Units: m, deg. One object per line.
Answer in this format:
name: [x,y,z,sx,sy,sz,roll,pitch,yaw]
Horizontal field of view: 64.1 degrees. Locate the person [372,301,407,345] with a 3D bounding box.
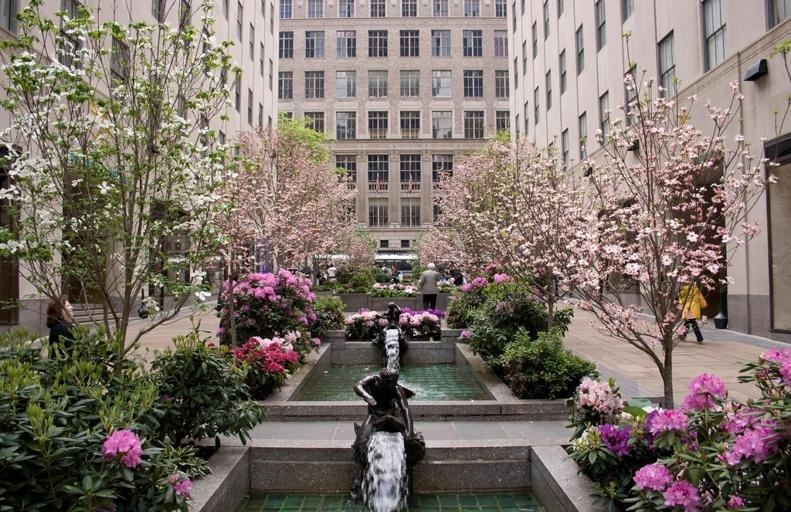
person: [-0.139,1.697,15.904,0.786,1.029,1.063,-2,0,-2]

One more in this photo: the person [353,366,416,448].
person: [-0.175,2.308,9.039,0.812,1.310,0.828,1,2,9]
